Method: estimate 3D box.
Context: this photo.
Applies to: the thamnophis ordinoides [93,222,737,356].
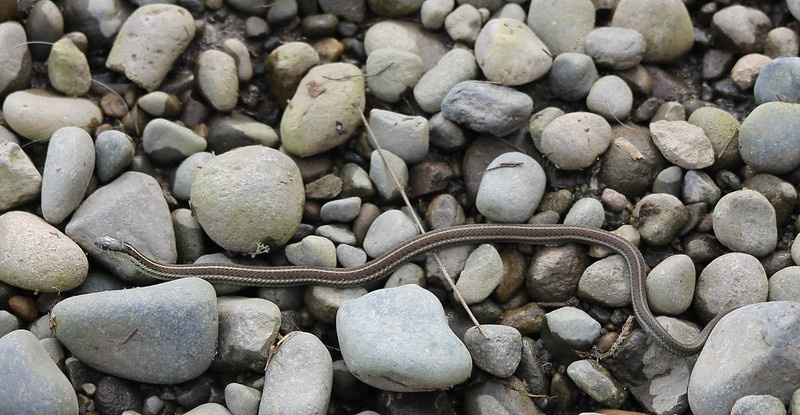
[{"bbox_3d":[0.447,0.782,11.521,8.564,0.447,1.504,7,76,1],"label":"thamnophis ordinoides"}]
